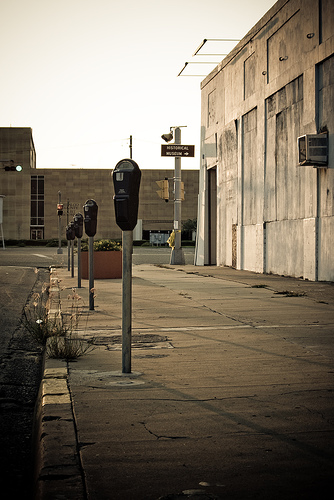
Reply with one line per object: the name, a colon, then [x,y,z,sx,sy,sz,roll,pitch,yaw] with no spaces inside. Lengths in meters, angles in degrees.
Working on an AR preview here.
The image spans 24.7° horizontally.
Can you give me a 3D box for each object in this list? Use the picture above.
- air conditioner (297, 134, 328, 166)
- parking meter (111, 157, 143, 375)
air conditioner: [3.417,-2.336,17.761,0.606,0.744,0.800,1,2,-6]
parking meter: [-0.351,0.132,6.248,0.226,1.753,0.288,1,2,-3]
